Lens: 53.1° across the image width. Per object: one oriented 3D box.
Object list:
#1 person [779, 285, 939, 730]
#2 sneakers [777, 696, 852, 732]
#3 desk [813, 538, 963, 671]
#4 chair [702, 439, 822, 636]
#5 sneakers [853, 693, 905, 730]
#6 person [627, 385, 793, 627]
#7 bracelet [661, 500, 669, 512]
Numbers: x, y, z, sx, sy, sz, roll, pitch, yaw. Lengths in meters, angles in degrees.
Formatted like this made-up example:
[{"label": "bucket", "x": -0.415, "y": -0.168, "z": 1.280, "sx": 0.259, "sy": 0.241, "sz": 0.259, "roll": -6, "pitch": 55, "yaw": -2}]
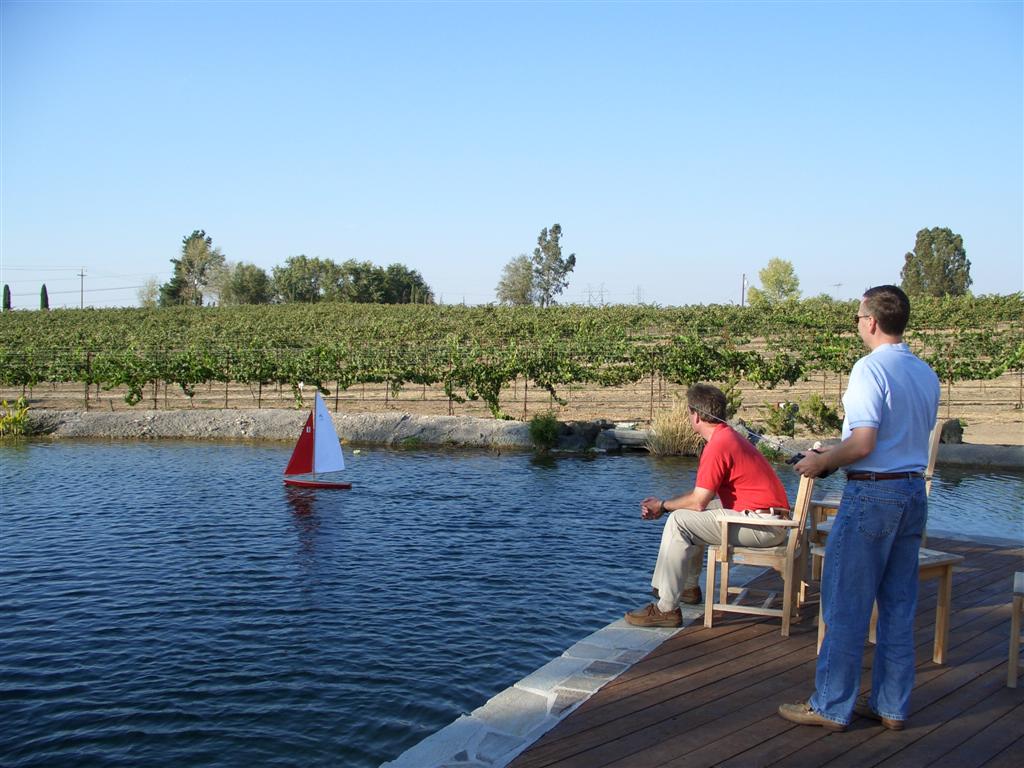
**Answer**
[{"label": "person", "x": 2.461, "y": 1.080, "z": 7.116, "sx": 0.906, "sy": 2.690, "sz": 0.365, "roll": 0, "pitch": 6, "yaw": 6}, {"label": "sneakers", "x": 2.133, "y": 2.313, "z": 7.250, "sx": 0.445, "sy": 0.201, "sz": 0.166, "roll": 9, "pitch": 4, "yaw": 25}, {"label": "desk", "x": 3.136, "y": 1.758, "z": 8.417, "sx": 1.048, "sy": 0.860, "sz": 1.086, "roll": 7, "pitch": -14, "yaw": 9}, {"label": "chair", "x": 2.156, "y": 1.432, "z": 9.043, "sx": 0.980, "sy": 1.255, "sz": 1.031, "roll": 2, "pitch": 2, "yaw": 1}, {"label": "sneakers", "x": 2.592, "y": 2.346, "z": 7.291, "sx": 0.147, "sy": 0.153, "sz": 0.356, "roll": -6, "pitch": 19, "yaw": -18}, {"label": "person", "x": 1.720, "y": 1.046, "z": 8.886, "sx": 1.263, "sy": 2.090, "sz": 0.653, "roll": 1, "pitch": 6, "yaw": 16}, {"label": "bracelet", "x": 1.290, "y": 1.045, "z": 8.733, "sx": 0.060, "sy": 0.082, "sz": 0.091, "roll": 1, "pitch": -10, "yaw": 6}]
